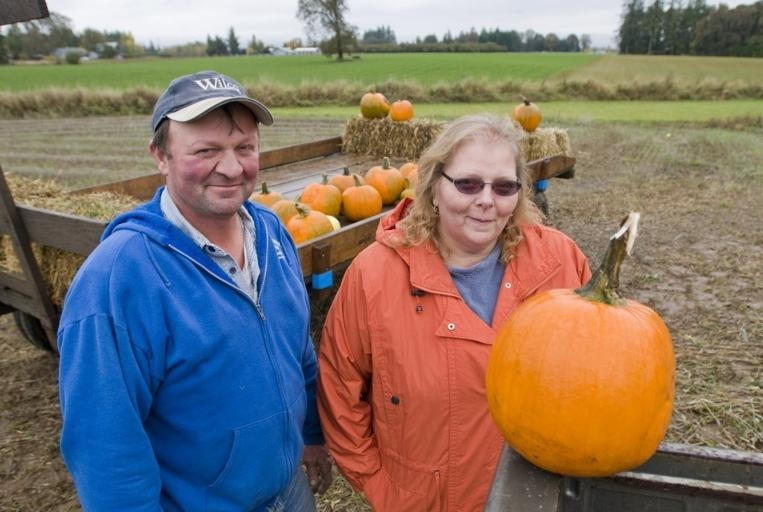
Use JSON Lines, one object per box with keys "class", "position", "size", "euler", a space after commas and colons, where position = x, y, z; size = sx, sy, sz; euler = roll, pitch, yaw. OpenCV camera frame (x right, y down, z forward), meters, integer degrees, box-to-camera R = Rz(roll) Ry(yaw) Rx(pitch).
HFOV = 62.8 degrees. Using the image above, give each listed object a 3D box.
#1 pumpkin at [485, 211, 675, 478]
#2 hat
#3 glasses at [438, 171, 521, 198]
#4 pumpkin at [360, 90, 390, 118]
{"class": "pumpkin", "position": [0.955, 0.410, 2.973], "size": [0.878, 1.167, 0.476], "euler": [-4, 22, -2]}
{"class": "hat", "position": [-0.924, -0.754, 3.300], "size": [0.481, 0.211, 0.356], "euler": [-2, 3, 31]}
{"class": "glasses", "position": [0.568, -0.421, 3.666], "size": [0.437, 0.128, 0.126], "euler": [0, 23, 7]}
{"class": "pumpkin", "position": [-0.130, -2.379, 9.885], "size": [0.432, 0.488, 0.442], "euler": [14, 17, 30]}
